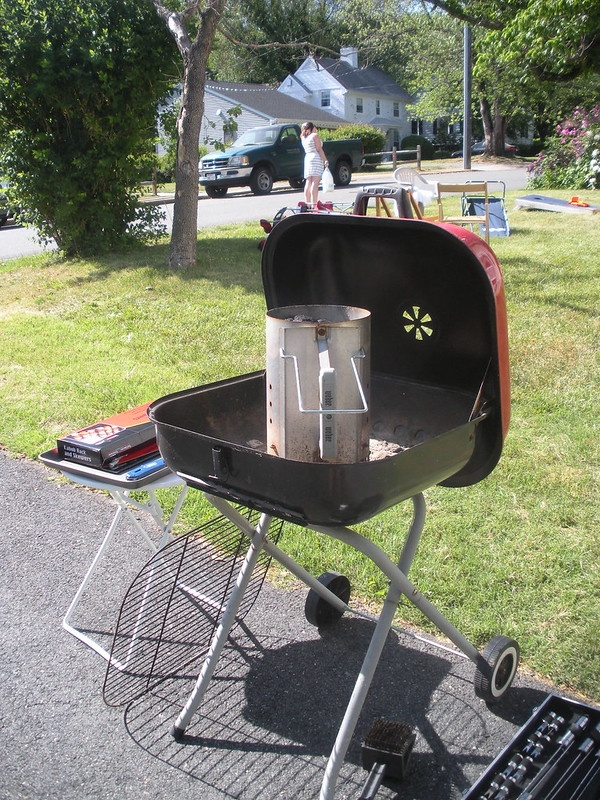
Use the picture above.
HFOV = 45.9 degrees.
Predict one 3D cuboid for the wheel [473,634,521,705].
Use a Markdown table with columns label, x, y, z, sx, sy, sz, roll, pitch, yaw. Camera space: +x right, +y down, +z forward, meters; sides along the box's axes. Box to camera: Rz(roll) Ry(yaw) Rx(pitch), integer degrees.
| label | x | y | z | sx | sy | sz | roll | pitch | yaw |
| --- | --- | --- | --- | --- | --- | --- | --- | --- | --- |
| wheel | 0.549 | 0.751 | 1.987 | 0.052 | 0.186 | 0.180 | 14 | 14 | 41 |

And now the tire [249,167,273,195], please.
| label | x | y | z | sx | sy | sz | roll | pitch | yaw |
| --- | --- | --- | --- | --- | --- | --- | --- | --- | --- |
| tire | -1.076 | -5.891 | 19.059 | 0.425 | 0.705 | 0.935 | 8 | 16 | 35 |

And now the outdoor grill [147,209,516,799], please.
| label | x | y | z | sx | sy | sz | roll | pitch | yaw |
| --- | --- | --- | --- | --- | --- | --- | --- | --- | --- |
| outdoor grill | 0.099 | 0.244 | 1.752 | 0.741 | 1.376 | 0.931 | 6 | 15 | 28 |

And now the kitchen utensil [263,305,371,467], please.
| label | x | y | z | sx | sy | sz | roll | pitch | yaw |
| --- | --- | --- | --- | --- | --- | --- | --- | --- | --- |
| kitchen utensil | 0.047 | -0.011 | 1.399 | 0.199 | 0.296 | 0.373 | -3 | 20 | -6 |

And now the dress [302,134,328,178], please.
| label | x | y | z | sx | sy | sz | roll | pitch | yaw |
| --- | --- | --- | --- | --- | --- | --- | --- | --- | --- |
| dress | 0.247 | -4.325 | 12.473 | 0.390 | 0.766 | 0.615 | -1 | 13 | 1 |

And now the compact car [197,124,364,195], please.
| label | x | y | z | sx | sy | sz | roll | pitch | yaw |
| --- | --- | --- | --- | --- | --- | --- | --- | --- | --- |
| compact car | -0.348 | -6.520 | 19.874 | 4.577 | 1.846 | 2.231 | -16 | 25 | -35 |
